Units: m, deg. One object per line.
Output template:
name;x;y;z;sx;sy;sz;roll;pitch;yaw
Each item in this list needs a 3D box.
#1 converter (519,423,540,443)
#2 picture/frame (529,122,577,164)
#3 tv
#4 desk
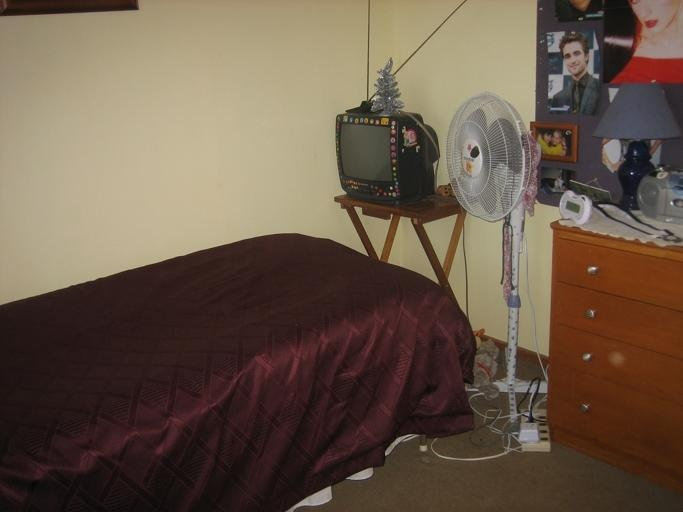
converter;0.934;0.892;2.876;0.074;0.021;0.088;0;44;17
picture/frame;1.141;-0.602;3.084;0.027;0.220;0.252;-23;33;-35
tv;0.254;-0.639;3.568;0.549;0.603;0.553;-18;26;-37
desk;0.419;-0.207;3.712;0.598;0.950;0.833;-18;25;-36
